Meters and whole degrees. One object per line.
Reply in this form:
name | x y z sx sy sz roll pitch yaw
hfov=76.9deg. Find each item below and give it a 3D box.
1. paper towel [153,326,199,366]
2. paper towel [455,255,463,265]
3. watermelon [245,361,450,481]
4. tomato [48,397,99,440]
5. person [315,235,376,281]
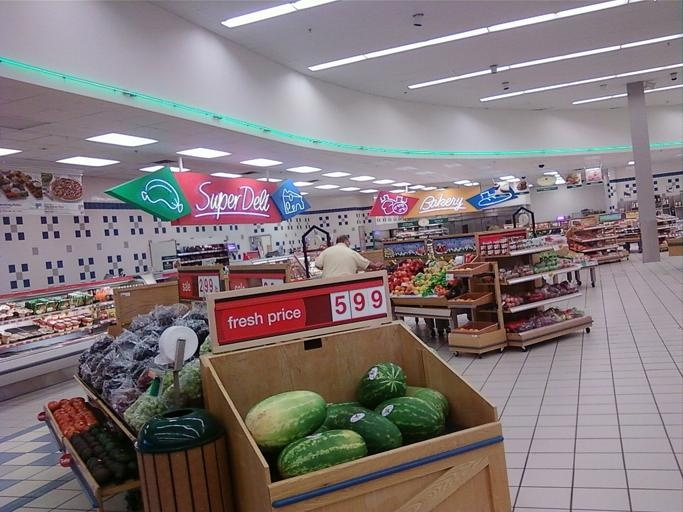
paper towel | -0.927 0.487 2.429 0.244 0.199 0.244 10 -7 -33
paper towel | 2.018 0.061 7.380 0.151 0.125 0.097 2 -12 12
watermelon | 0.068 0.813 2.198 0.978 0.310 0.533 -8 4 -31
tomato | -2.265 1.339 3.617 0.417 0.261 0.477 -2 4 -21
person | 0.073 -0.009 6.994 0.694 0.677 0.814 -1 3 -33
